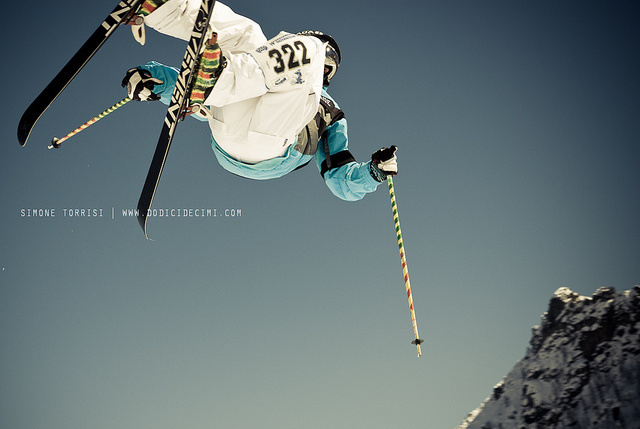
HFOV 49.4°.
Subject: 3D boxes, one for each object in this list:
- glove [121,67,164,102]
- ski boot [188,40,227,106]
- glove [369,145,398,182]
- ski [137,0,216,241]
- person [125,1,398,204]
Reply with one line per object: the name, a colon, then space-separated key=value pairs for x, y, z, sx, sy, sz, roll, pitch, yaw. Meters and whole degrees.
glove: x=-0.726 y=-0.525 z=2.824 sx=0.140 sy=0.141 sz=0.071 roll=-11 pitch=-18 yaw=-39
ski boot: x=-0.448 y=-0.541 z=2.715 sx=0.101 sy=0.123 sz=0.225 roll=10 pitch=-37 yaw=-35
glove: x=0.277 y=-0.223 z=3.035 sx=0.117 sy=0.146 sz=0.057 roll=25 pitch=3 yaw=-7
ski: x=-0.634 y=-0.392 z=3.124 sx=0.107 sy=1.120 sz=0.184 roll=17 pitch=3 yaw=14
person: x=-0.323 y=-0.387 z=3.026 sx=0.462 sy=0.852 sz=1.131 roll=-33 pitch=-31 yaw=23
